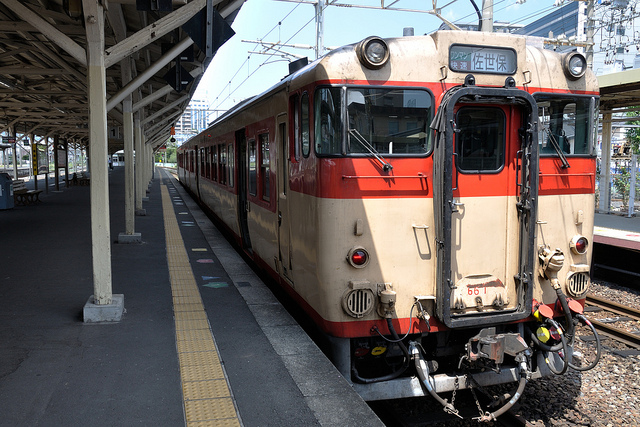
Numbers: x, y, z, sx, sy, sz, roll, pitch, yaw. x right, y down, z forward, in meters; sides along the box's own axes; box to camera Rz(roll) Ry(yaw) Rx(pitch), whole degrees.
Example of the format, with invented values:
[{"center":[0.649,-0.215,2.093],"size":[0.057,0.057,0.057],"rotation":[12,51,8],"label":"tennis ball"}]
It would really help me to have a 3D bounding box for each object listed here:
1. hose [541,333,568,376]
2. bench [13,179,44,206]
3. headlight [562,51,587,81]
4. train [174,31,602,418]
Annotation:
[{"center":[2.977,1.784,5.904],"size":[0.085,0.565,0.363],"rotation":[-2,-24,-19],"label":"hose"},{"center":[-13.686,-0.964,22.493],"size":[0.685,0.829,1.748],"rotation":[-2,10,-10],"label":"bench"},{"center":[3.379,-1.953,6.283],"size":[0.260,0.324,0.288],"rotation":[2,11,39],"label":"headlight"},{"center":[0.850,-0.049,7.109],"size":[5.884,5.020,2.951],"rotation":[11,14,43],"label":"train"}]
